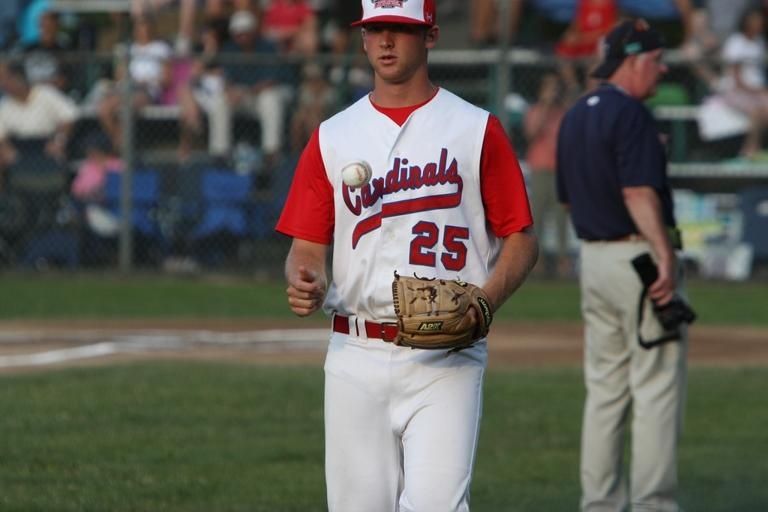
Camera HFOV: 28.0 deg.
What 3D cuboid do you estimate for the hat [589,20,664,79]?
[{"bbox_3d":[1.887,-1.653,12.020,0.632,0.350,0.454,-17,8,0],"label":"hat"}]
